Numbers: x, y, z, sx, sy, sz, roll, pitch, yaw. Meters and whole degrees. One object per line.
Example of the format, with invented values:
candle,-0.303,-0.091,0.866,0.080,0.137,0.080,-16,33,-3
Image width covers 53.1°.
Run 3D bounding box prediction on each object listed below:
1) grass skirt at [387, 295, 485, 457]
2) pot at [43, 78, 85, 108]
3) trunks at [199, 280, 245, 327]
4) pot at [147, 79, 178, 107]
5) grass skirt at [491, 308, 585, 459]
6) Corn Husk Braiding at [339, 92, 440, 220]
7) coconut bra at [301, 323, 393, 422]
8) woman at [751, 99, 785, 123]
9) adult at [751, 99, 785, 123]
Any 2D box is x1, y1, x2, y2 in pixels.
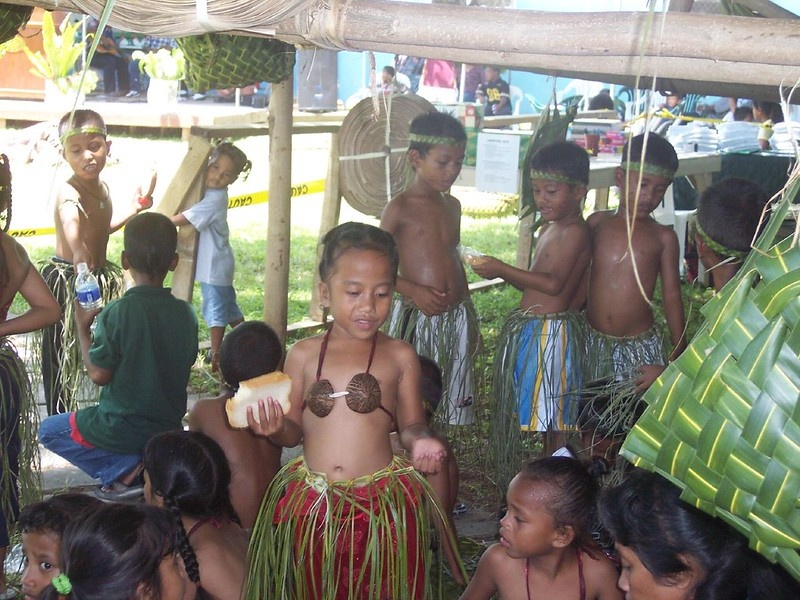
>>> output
grass skirt,0.184,0.251,4.316,0.453,0.747,0.532,-2,9,-25
pot,-5.025,-3.077,11.821,0.444,0.557,0.901,-1,6,-28
trunks,-1.252,0.030,5.498,0.156,0.386,0.360,-1,1,17
pot,-3.883,-3.383,13.061,0.461,0.471,0.478,1,6,0
grass skirt,0.663,0.360,3.883,0.390,0.740,0.412,9,19,28
Corn Husk Braiding,-0.154,-0.874,4.686,0.690,0.699,0.169,19,3,-22
coconut bra,-0.185,0.224,2.600,0.343,0.355,0.146,-6,-24,13
woman,3.922,-1.981,8.473,0.276,0.279,1.104,4,5,24
adult,3.922,-1.981,8.473,0.276,0.279,1.104,4,5,24
